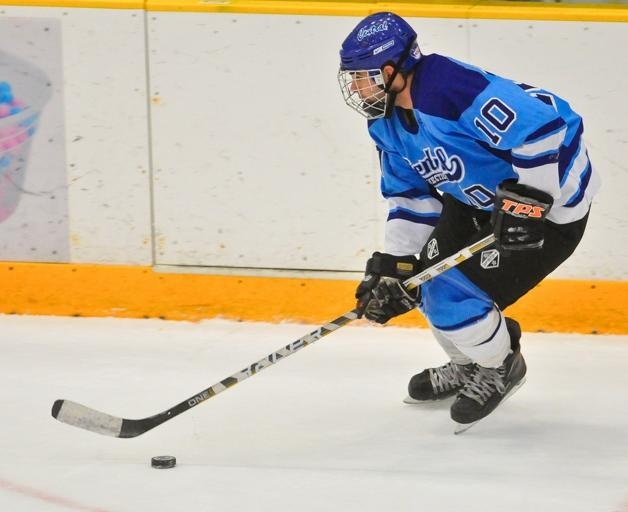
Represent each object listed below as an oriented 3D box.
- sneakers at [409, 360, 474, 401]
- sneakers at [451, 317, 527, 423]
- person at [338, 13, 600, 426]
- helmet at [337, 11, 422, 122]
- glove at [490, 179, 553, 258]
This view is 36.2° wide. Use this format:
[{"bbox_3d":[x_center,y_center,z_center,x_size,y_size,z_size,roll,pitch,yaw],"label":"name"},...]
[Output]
[{"bbox_3d":[0.490,0.498,3.818,0.328,0.095,0.123,-11,-17,15],"label":"sneakers"},{"bbox_3d":[0.651,0.428,3.617,0.410,0.239,0.151,-41,56,-15],"label":"sneakers"},{"bbox_3d":[0.504,-0.119,3.581,0.953,1.479,0.410,13,20,16],"label":"person"},{"bbox_3d":[0.275,-0.707,3.537,0.383,0.311,0.275,-16,15,21],"label":"helmet"},{"bbox_3d":[0.742,-0.136,3.396,0.257,0.211,0.225,-3,17,-34],"label":"glove"}]
